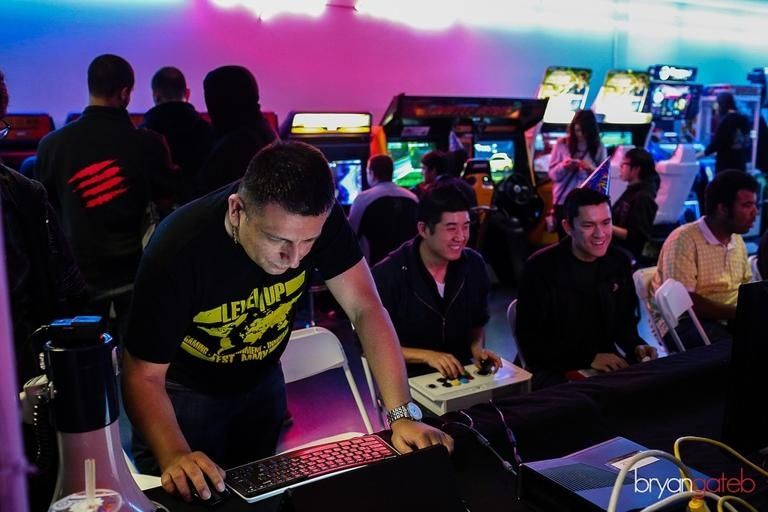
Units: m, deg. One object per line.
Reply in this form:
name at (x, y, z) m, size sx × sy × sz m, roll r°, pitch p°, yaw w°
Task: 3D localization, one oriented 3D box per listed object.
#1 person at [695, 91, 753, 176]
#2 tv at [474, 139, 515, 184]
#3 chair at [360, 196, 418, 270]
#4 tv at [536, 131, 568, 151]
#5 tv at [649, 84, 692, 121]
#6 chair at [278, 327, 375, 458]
person at (4.129, -1.494, 7.264) m, size 0.479 × 0.894 × 1.354 m, roll 7°, pitch 15°, yaw 29°
tv at (1.161, -1.020, 6.461) m, size 0.585 × 0.470 × 0.195 m, roll -5°, pitch 7°, yaw -26°
chair at (0.021, -0.176, 3.961) m, size 0.494 × 0.496 × 0.267 m, roll -1°, pitch 18°, yaw -3°
tv at (1.939, -1.327, 6.958) m, size 0.375 × 0.249 × 0.086 m, roll -7°, pitch 8°, yaw -27°
tv at (3.629, -1.972, 7.693) m, size 0.661 × 0.422 × 0.100 m, roll -6°, pitch 15°, yaw -23°
chair at (-0.281, 0.652, 2.838) m, size 0.401 × 0.601 × 0.418 m, roll -22°, pitch 33°, yaw 2°
